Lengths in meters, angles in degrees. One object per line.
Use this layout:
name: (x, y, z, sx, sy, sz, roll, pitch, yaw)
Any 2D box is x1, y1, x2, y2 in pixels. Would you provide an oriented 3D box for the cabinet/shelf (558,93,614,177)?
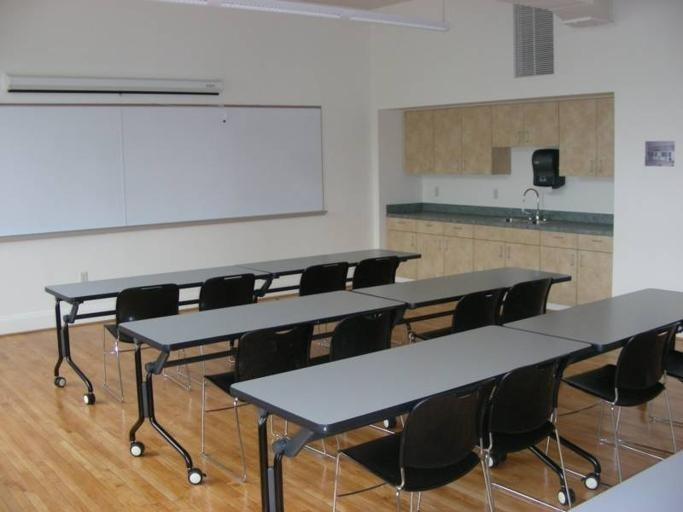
cabinet/shelf: (3.353, -1.691, 7.229, 0.595, 1.046, 0.742, -35, 33, -32)

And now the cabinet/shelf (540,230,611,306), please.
cabinet/shelf: (2.896, 0.143, 6.581, 0.325, 0.847, 0.847, -8, 10, -42)

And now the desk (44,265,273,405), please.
desk: (-1.793, 0.736, 5.638, 2.138, 1.053, 0.874, -3, 7, -42)

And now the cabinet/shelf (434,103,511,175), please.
cabinet/shelf: (2.054, -1.818, 8.304, 0.370, 0.887, 0.963, -8, 11, -39)

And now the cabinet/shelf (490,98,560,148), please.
cabinet/shelf: (2.680, -1.918, 7.769, 0.984, 0.639, 0.391, 9, 31, 37)
